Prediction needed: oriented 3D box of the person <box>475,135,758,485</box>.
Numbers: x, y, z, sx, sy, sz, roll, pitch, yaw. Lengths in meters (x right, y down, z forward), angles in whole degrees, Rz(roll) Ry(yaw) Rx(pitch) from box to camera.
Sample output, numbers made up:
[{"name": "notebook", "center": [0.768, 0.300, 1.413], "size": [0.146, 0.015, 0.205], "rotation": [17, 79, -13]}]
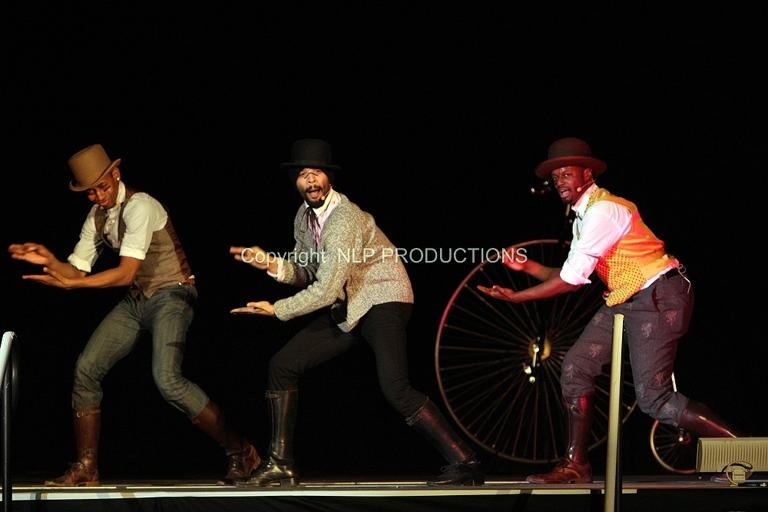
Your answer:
[{"name": "person", "center": [1.557, 0.359, 6.229], "size": [1.393, 2.338, 0.737], "rotation": [0, 8, 12]}]

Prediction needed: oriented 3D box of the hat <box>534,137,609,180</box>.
[{"name": "hat", "center": [1.325, -0.712, 6.448], "size": [0.561, 0.197, 0.486], "rotation": [-3, -6, 8]}]

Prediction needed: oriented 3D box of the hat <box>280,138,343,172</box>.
[{"name": "hat", "center": [-0.508, -0.707, 6.330], "size": [0.411, 0.158, 0.469], "rotation": [-1, -2, 26]}]

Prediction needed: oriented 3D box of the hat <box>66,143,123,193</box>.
[{"name": "hat", "center": [-2.015, -0.649, 6.270], "size": [0.377, 0.213, 0.433], "rotation": [8, 37, 46]}]

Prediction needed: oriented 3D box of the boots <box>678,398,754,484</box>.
[{"name": "boots", "center": [2.185, 1.237, 5.893], "size": [0.426, 0.501, 0.376], "rotation": [-2, 8, -4]}]

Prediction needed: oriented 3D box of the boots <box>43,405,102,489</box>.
[{"name": "boots", "center": [-2.101, 1.309, 6.107], "size": [0.346, 0.516, 0.186], "rotation": [-1, 8, 0]}]

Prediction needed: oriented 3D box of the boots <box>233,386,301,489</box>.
[{"name": "boots", "center": [-0.768, 1.237, 6.064], "size": [0.370, 0.626, 0.291], "rotation": [-1, 8, 1]}]
